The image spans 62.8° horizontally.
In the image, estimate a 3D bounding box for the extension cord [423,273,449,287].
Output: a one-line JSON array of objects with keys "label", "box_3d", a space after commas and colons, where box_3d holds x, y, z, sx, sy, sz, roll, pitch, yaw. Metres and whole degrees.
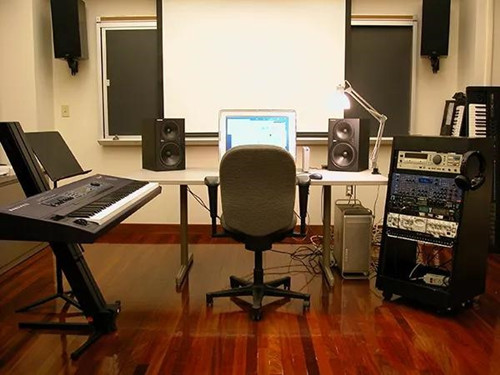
[{"label": "extension cord", "box_3d": [1.406, 0.690, 3.103, 0.119, 0.045, 0.096, 4, 3, 22]}]

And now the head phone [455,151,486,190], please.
[{"label": "head phone", "box_3d": [1.564, -0.127, 2.933, 0.238, 0.296, 0.105, 9, -2, -32]}]

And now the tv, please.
[{"label": "tv", "box_3d": [0.036, -0.398, 3.252, 0.513, 0.409, 0.044, 0, 0, 0]}]
